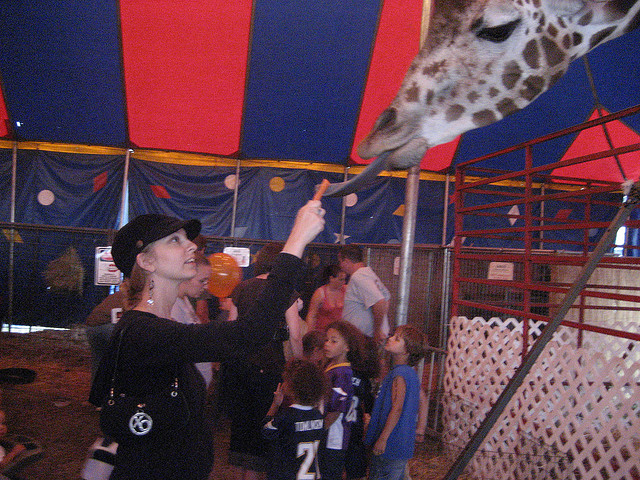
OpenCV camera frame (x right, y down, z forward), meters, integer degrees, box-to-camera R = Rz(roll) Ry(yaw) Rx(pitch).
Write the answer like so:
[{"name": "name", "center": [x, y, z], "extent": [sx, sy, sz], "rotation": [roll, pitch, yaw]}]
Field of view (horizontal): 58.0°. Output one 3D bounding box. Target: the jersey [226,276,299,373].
[{"name": "jersey", "center": [-0.608, 0.840, 5.794], "extent": [0.606, 0.928, 0.863], "rotation": [6, -1, -8]}]

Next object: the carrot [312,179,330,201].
[{"name": "carrot", "center": [0.020, -0.389, 4.084], "extent": [0.056, 0.238, 0.033], "rotation": [29, -21, 11]}]

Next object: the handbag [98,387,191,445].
[{"name": "handbag", "center": [-1.233, 1.215, 4.048], "extent": [0.494, 0.406, 0.203], "rotation": [0, -7, -9]}]

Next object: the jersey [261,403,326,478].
[{"name": "jersey", "center": [-0.171, 1.855, 5.688], "extent": [0.760, 0.706, 0.663], "rotation": [4, -6, -25]}]

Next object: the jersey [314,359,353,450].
[{"name": "jersey", "center": [0.134, 1.642, 5.677], "extent": [0.384, 0.854, 0.789], "rotation": [11, -14, -6]}]

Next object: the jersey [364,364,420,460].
[{"name": "jersey", "center": [0.764, 1.730, 5.934], "extent": [0.601, 0.858, 0.581], "rotation": [6, -10, -6]}]
